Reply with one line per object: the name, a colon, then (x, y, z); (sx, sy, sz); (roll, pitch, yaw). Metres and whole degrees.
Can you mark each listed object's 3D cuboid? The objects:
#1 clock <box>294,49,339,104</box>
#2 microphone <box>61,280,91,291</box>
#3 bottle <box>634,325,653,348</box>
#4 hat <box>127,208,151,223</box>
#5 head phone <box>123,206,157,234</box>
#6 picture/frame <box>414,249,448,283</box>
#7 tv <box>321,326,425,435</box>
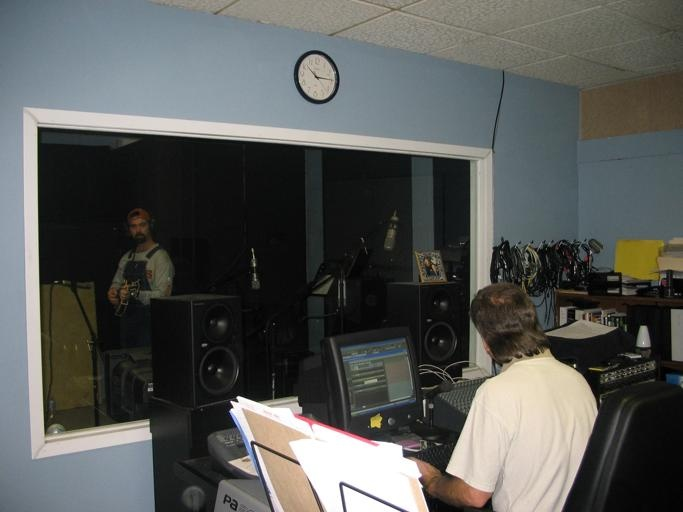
clock: (-0.162, -1.066, 3.526); (0.302, 0.324, 0.042); (-7, 6, -35)
microphone: (-1.418, 0.158, 3.202); (0.031, 0.071, 0.214); (-2, 3, 14)
bottle: (1.874, 0.501, 3.697); (0.071, 0.130, 0.177); (-1, 4, 30)
hat: (-1.297, -0.253, 3.791); (0.075, 0.069, 0.105); (-7, -10, -20)
head phone: (-1.284, -0.201, 3.800); (0.124, 0.144, 0.168); (-10, -27, -24)
picture/frame: (0.580, 0.068, 3.843); (0.019, 0.218, 0.245); (-14, 5, -31)
tv: (0.197, 0.563, 2.763); (0.410, 0.438, 0.234); (-13, -2, 21)
